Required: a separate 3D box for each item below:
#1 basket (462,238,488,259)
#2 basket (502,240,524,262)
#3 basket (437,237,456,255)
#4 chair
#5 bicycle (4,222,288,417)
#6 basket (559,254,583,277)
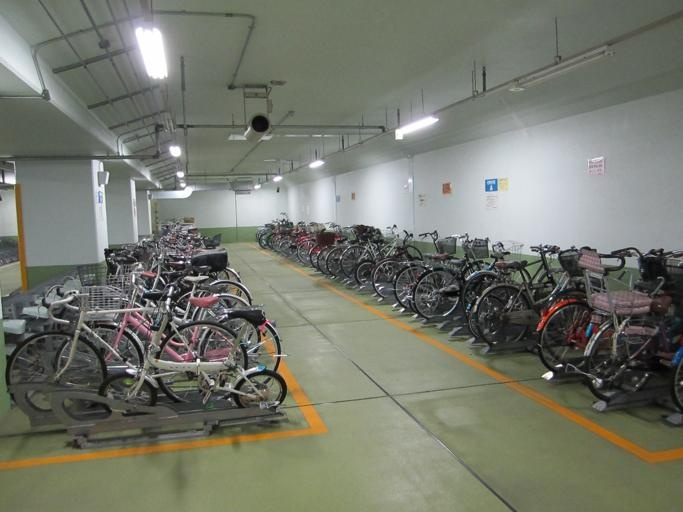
[{"bbox_3d":[1.789,-0.108,5.468,0.285,0.228,0.316,-5,3,-29],"label":"basket"},{"bbox_3d":[2.895,-0.095,6.811,0.396,0.359,0.414,-2,-3,-5],"label":"basket"},{"bbox_3d":[1.557,-0.139,5.857,0.329,0.260,0.294,0,-1,28],"label":"basket"},{"bbox_3d":[2.405,0.435,3.373,0.595,0.764,0.582,6,10,16],"label":"chair"},{"bbox_3d":[-1.416,0.676,3.617,2.285,1.245,1.083,0,2,-7],"label":"bicycle"},{"bbox_3d":[2.233,0.073,3.961,0.231,0.257,0.242,1,3,16],"label":"basket"}]
